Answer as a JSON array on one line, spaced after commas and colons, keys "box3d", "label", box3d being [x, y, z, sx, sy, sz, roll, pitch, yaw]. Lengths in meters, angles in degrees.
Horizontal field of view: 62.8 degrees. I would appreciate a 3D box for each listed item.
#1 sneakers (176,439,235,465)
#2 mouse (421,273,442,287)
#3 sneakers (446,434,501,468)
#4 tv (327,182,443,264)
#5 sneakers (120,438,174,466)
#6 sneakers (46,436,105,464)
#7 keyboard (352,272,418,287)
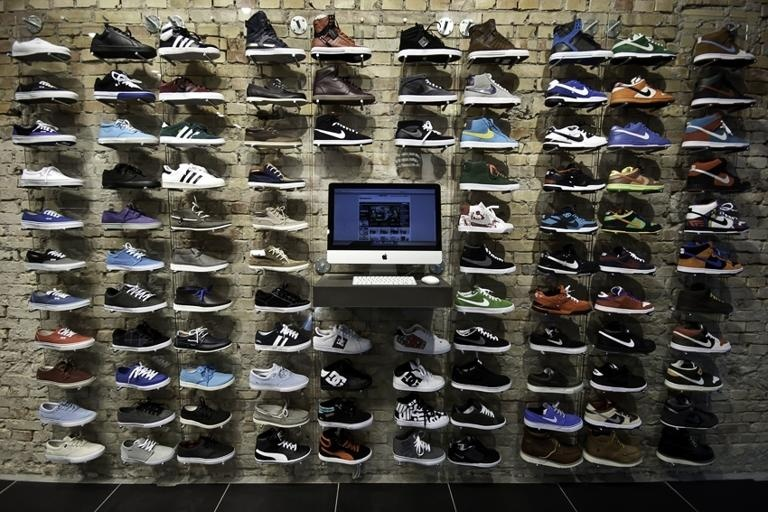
[{"box3d": [-1.517, 1.645, 5.324, 0.540, 0.188, 0.209, 2, -3, -5], "label": "sneakers"}, {"box3d": [0.373, 0.191, 5.138, 0.149, 0.062, 0.215, 1, 5, -10], "label": "mouse"}, {"box3d": [0.744, 1.653, 5.337, 0.519, 0.162, 0.221, 1, 7, 4], "label": "sneakers"}, {"box3d": [-0.005, -0.262, 5.252, 0.966, 0.487, 0.244, 0, -2, 0], "label": "tv"}, {"box3d": [-1.987, 1.645, 5.290, 0.518, 0.171, 0.191, 2, 4, -4], "label": "sneakers"}, {"box3d": [-2.611, 1.635, 5.373, 0.554, 0.184, 0.212, 2, 4, -2], "label": "sneakers"}, {"box3d": [0.006, 0.198, 5.129, 0.509, 0.059, 0.268, 1, 5, -1], "label": "keyboard"}]
